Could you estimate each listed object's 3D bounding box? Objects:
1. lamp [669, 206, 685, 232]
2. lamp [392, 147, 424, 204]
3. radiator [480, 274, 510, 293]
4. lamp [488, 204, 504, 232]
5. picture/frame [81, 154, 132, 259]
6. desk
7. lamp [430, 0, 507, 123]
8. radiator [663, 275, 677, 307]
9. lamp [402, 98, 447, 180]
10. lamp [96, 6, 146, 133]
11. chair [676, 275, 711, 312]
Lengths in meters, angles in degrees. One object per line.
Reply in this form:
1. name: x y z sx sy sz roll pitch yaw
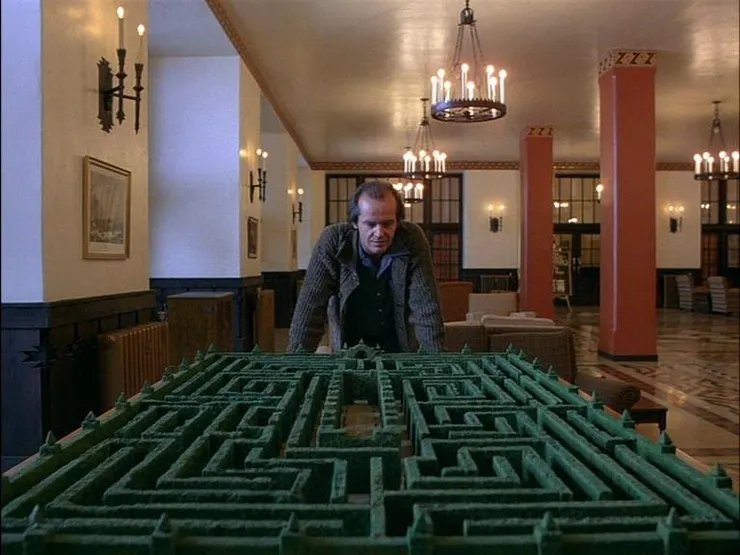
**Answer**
1. lamp: 8.154 -1.541 16.915 0.376 0.713 0.117 -2 3 -8
2. lamp: 0.880 -2.212 13.745 0.649 1.195 0.666 -6 8 -26
3. radiator: 3.186 0.157 16.244 0.682 0.763 0.169 -4 2 7
4. lamp: 3.261 -1.524 16.420 0.426 0.748 0.205 -1 3 10
5. picture/frame: -1.909 -0.475 4.668 0.235 0.652 0.779 -3 9 -44
6. desk: -1.574 0.444 5.802 0.321 0.599 0.603 -1 0 -1
7. lamp: 1.100 -2.480 7.186 0.926 1.762 0.987 -1 -5 2
8. radiator: 7.876 0.373 16.652 0.345 0.837 0.240 0 3 26
9. lamp: 0.905 -2.391 10.667 0.722 1.293 0.740 5 9 28
10. lamp: -1.839 -1.575 4.701 0.290 1.038 0.825 -2 3 -13
11. chair: 8.100 0.404 15.886 0.793 0.811 0.752 0 2 10
